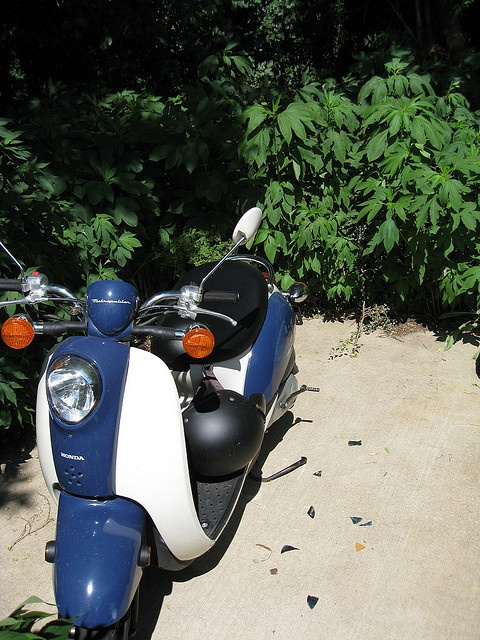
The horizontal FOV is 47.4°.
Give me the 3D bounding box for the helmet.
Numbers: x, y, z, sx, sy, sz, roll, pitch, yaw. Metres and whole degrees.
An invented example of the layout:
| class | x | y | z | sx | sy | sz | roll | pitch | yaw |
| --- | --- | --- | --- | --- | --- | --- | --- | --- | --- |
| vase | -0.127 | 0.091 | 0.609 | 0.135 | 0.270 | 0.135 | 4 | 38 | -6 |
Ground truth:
| class | x | y | z | sx | sy | sz | roll | pitch | yaw |
| --- | --- | --- | --- | --- | --- | --- | --- | --- | --- |
| helmet | -0.071 | 0.442 | 2.240 | 0.276 | 0.323 | 0.382 | 10 | 21 | 18 |
